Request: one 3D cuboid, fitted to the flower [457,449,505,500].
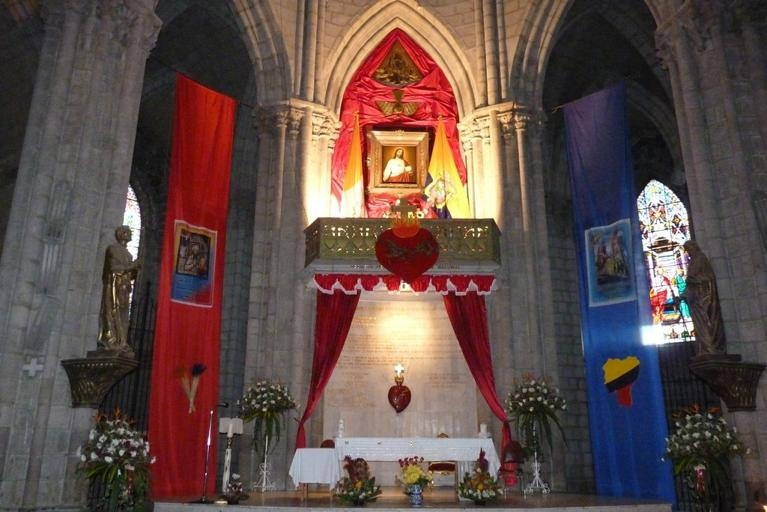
[{"bbox_3d":[1.978,4.619,13.839,0.989,1.024,0.977,2,-11,-4],"label":"flower"}]

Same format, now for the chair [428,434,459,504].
[{"bbox_3d":[1.652,5.549,17.696,0.839,1.349,0.862,4,-7,5],"label":"chair"}]

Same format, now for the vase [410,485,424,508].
[{"bbox_3d":[0.680,4.938,13.592,0.237,0.396,0.224,2,-18,-7],"label":"vase"}]

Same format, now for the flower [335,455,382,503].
[{"bbox_3d":[-0.517,4.717,13.729,0.822,0.913,0.830,1,-18,-5],"label":"flower"}]

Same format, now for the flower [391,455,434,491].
[{"bbox_3d":[0.671,4.623,13.785,0.619,0.686,0.627,-6,-13,5],"label":"flower"}]

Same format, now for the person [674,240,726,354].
[{"bbox_3d":[6.958,0.857,14.165,0.680,2.551,0.609,-8,-19,23],"label":"person"}]

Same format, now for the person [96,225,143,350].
[{"bbox_3d":[-5.604,0.629,13.765,0.716,2.658,0.642,7,-19,-23],"label":"person"}]
